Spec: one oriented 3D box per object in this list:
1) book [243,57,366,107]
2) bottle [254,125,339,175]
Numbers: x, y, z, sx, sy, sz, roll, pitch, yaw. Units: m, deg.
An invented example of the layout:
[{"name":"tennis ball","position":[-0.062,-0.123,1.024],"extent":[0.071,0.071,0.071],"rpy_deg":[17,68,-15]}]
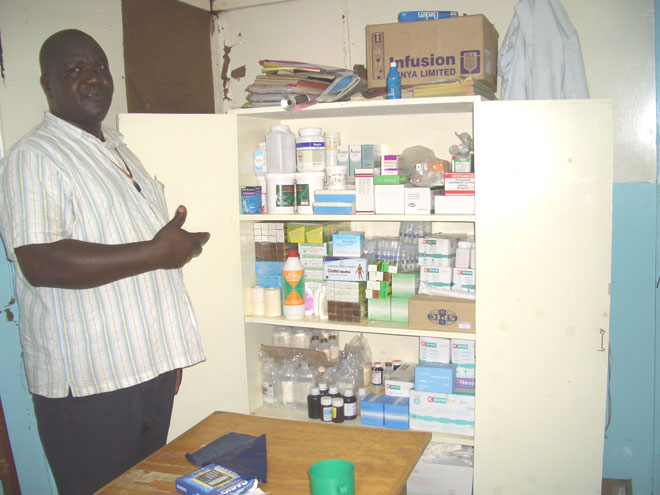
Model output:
[{"name":"book","position":[-0.155,-0.804,2.982],"extent":[0.362,0.152,0.357],"rpy_deg":[-6,9,-45]},{"name":"bottle","position":[-0.175,-0.480,2.959],"extent":[0.382,0.275,0.215],"rpy_deg":[2,7,19]}]
